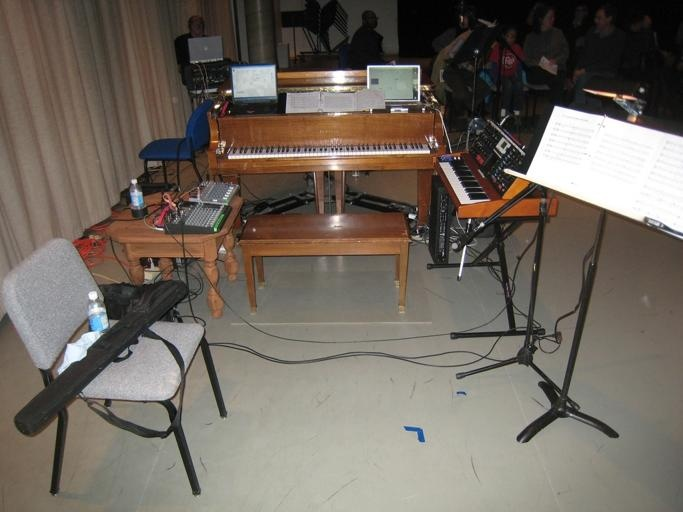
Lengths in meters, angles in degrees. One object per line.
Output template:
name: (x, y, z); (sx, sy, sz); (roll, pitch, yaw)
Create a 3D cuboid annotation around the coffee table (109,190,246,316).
coffee table: (-1.197, -0.083, 4.315); (0.937, 0.790, 0.973); (2, 29, 3)

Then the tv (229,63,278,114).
tv: (-0.745, -1.431, 4.775); (0.519, 0.414, 0.406); (-2, 36, -3)

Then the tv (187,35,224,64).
tv: (-1.573, -2.409, 6.307); (0.514, 0.376, 0.386); (-10, 26, -20)

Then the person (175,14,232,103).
person: (-1.627, -2.185, 6.354); (0.564, 0.764, 0.493); (-21, 60, -31)

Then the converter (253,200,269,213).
converter: (-0.843, -0.510, 5.657); (0.114, 0.034, 0.122); (-6, 34, 4)

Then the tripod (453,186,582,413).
tripod: (1.155, 0.346, 3.826); (0.553, 0.635, 1.024); (-5, 50, 24)

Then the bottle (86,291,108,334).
bottle: (-1.380, 0.333, 3.057); (0.106, 0.282, 0.105); (-4, 14, 1)
